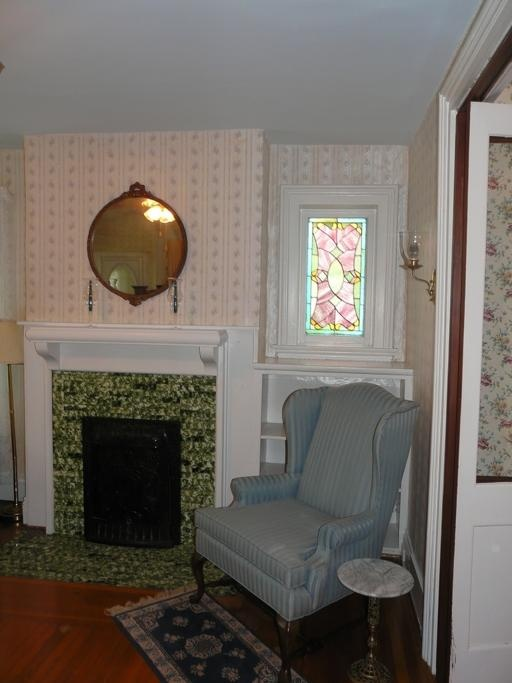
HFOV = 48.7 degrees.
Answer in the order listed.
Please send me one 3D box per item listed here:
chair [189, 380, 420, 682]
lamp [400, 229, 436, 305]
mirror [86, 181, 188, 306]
[{"bbox_3d":[0.175,0.699,2.810,1.025,1.275,0.974,0,2,-34],"label":"chair"},{"bbox_3d":[0.731,-0.327,2.576,0.162,0.317,0.096,3,20,17],"label":"lamp"},{"bbox_3d":[-0.660,-0.569,3.215,0.694,0.878,0.040,2,10,9],"label":"mirror"}]
